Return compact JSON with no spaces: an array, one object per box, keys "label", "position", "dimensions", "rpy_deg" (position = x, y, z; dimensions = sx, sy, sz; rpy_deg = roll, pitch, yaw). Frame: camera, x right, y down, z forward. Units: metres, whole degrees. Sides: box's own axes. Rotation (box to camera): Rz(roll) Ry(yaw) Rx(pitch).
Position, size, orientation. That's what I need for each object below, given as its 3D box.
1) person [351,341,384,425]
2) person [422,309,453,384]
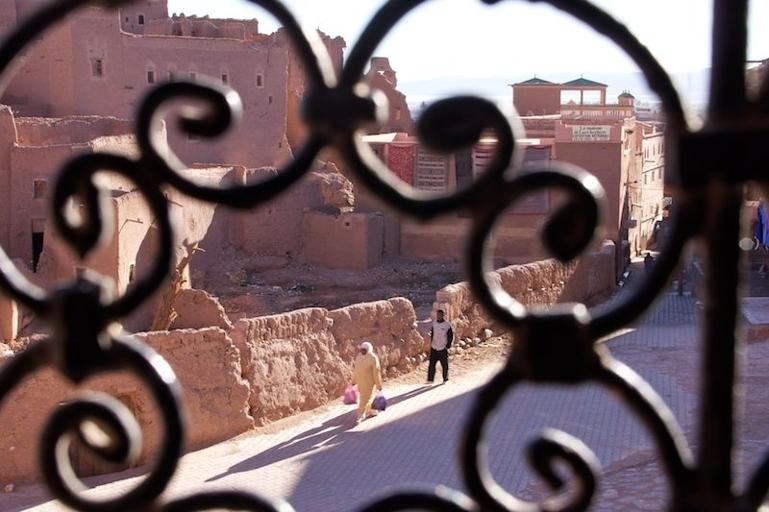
[{"label":"person","position":[-0.283,1.583,8.998],"dimensions":[0.338,0.941,0.518],"rpy_deg":[3,8,43]},{"label":"person","position":[0.825,1.363,10.831],"dimensions":[0.385,1.051,0.823],"rpy_deg":[-2,6,4]}]
